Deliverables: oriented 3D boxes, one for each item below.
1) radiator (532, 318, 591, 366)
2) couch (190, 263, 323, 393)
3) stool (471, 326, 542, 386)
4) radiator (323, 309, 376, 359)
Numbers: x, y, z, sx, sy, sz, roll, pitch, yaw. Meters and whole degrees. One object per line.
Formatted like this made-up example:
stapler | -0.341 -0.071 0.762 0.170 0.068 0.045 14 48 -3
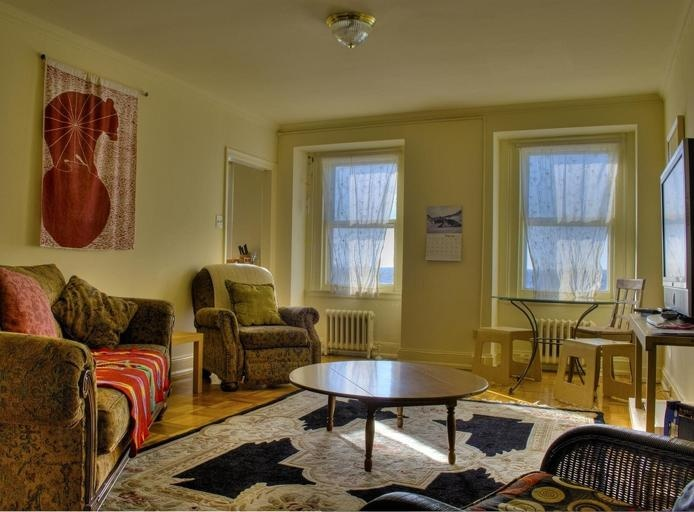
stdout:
radiator | 2.157 0.855 5.229 0.451 0.539 0.143 -1 10 20
couch | -0.932 0.662 5.286 1.052 1.284 1.186 3 -8 -35
stool | 1.580 0.978 5.345 0.594 0.608 0.617 -2 -3 45
radiator | 0.059 0.965 6.476 0.539 0.515 0.130 2 1 28
